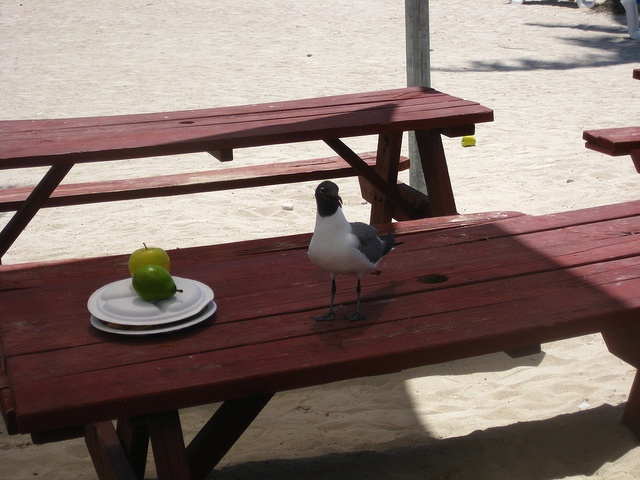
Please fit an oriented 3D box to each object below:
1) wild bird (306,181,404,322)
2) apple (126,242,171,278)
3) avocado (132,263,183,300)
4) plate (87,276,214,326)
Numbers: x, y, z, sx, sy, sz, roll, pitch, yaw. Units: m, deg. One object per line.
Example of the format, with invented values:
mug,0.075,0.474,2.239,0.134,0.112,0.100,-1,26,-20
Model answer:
wild bird,0.110,0.029,2.094,0.289,0.485,0.415,6,39,5
apple,-0.629,0.069,2.210,0.138,0.101,0.130,20,33,30
avocado,-0.555,0.144,1.997,0.108,0.117,0.089,24,45,25
plate,-0.579,0.192,2.031,0.431,0.294,0.048,-11,46,-3
